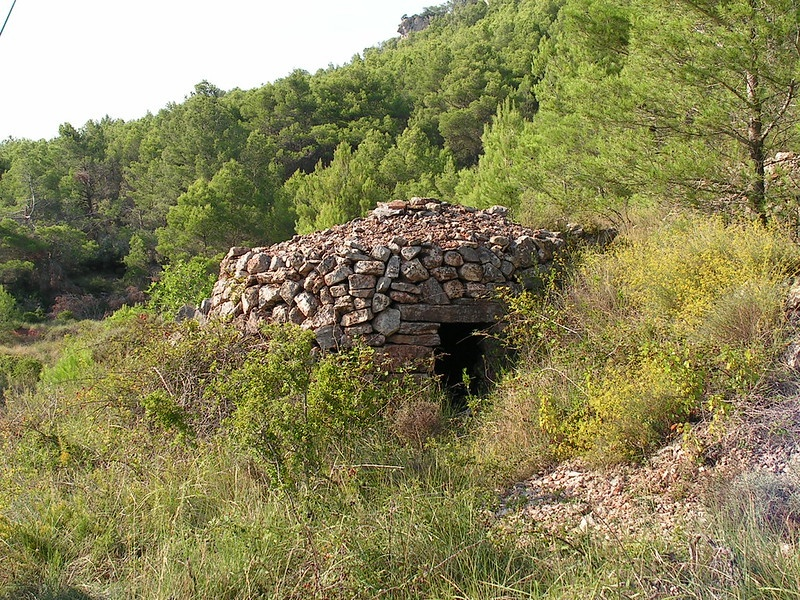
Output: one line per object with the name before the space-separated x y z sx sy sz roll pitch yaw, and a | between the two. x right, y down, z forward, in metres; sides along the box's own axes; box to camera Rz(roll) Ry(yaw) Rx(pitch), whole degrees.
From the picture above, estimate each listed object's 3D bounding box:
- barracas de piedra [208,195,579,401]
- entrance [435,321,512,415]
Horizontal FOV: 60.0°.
barracas de piedra | -0.117 -0.118 8.336 3.935 2.140 1.622 -12 -8 -15
entrance | 0.870 0.780 8.493 0.673 0.390 1.034 -6 -45 4
